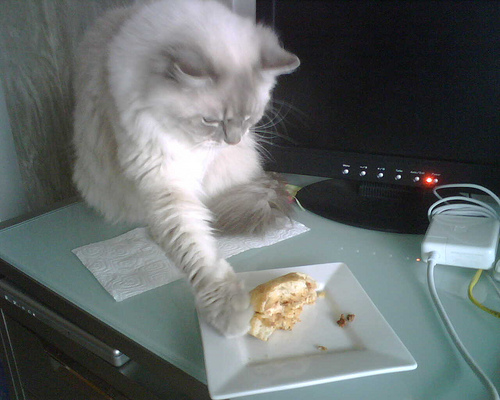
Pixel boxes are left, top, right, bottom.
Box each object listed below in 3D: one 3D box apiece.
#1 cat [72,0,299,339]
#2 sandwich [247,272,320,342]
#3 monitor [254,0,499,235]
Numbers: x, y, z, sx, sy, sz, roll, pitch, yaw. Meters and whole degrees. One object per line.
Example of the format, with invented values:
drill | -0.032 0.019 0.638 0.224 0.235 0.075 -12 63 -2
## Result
cat | -0.083 -0.137 0.797 0.375 0.434 0.546 -27 36 -34
sandwich | 0.049 0.156 0.646 0.138 0.049 0.071 -20 33 -22
monitor | 0.243 -0.167 0.804 0.352 0.383 0.138 7 35 22
